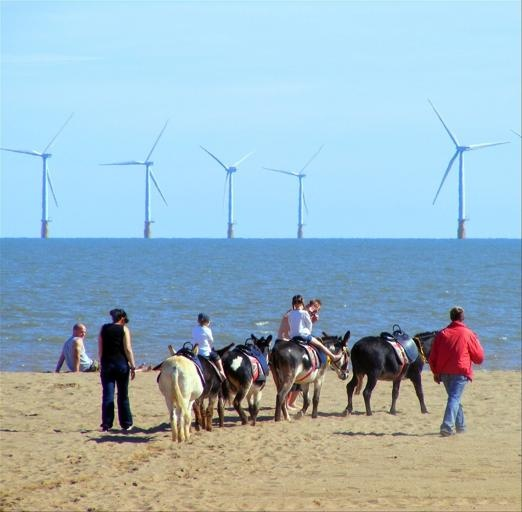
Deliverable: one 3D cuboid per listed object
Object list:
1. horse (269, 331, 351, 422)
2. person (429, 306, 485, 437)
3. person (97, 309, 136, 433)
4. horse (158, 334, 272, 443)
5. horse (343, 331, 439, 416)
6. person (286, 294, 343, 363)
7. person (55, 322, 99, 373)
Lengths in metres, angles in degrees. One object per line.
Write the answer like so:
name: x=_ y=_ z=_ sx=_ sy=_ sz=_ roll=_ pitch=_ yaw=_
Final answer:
horse: x=1.022 y=2.428 z=25.315 sx=0.746 sy=1.891 sz=2.196 roll=1 pitch=-2 yaw=44
person: x=3.649 y=2.152 z=23.038 sx=0.972 sy=2.327 sz=0.529 roll=1 pitch=3 yaw=14
person: x=-2.756 y=2.198 z=23.485 sx=0.659 sy=2.329 sz=0.681 roll=0 pitch=3 yaw=-9
horse: x=-1.095 y=2.536 z=23.580 sx=0.983 sy=1.748 sz=2.301 roll=2 pitch=3 yaw=24
horse: x=2.996 y=2.412 z=25.799 sx=2.322 sy=1.862 sz=0.805 roll=3 pitch=-2 yaw=-27
person: x=1.068 y=1.469 z=25.012 sx=0.983 sy=1.312 sz=0.499 roll=0 pitch=3 yaw=-18
person: x=-5.024 y=2.527 z=33.578 sx=0.713 sy=1.508 sz=1.042 roll=22 pitch=29 yaw=35
